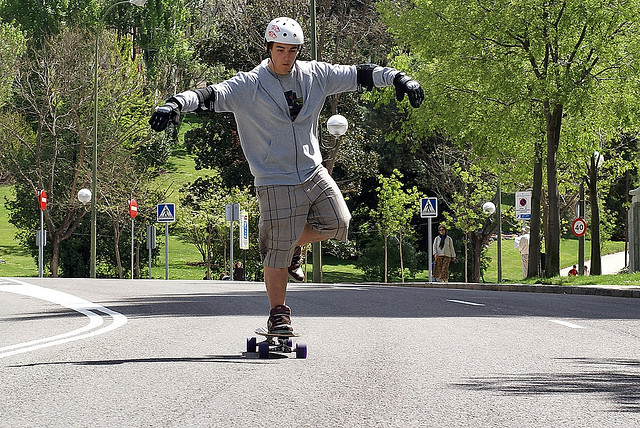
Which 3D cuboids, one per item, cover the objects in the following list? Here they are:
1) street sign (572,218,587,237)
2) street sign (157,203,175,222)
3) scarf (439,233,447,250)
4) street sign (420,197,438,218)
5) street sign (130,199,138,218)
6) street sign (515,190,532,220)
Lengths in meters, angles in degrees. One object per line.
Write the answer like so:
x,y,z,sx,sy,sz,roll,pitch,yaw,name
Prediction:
8.068,0.381,25.036,0.366,0.564,0.736,-7,-2,17,street sign
-5.657,-0.082,29.215,0.713,0.720,0.069,0,2,4,street sign
3.584,0.797,23.615,0.149,0.456,0.034,0,-16,11,scarf
3.923,-0.274,29.218,0.799,0.895,0.176,-1,-1,-14,street sign
-7.118,-0.236,30.329,0.244,0.535,0.827,-6,-2,-14,street sign
6.737,-0.316,26.614,0.555,0.902,0.505,-1,-1,36,street sign
